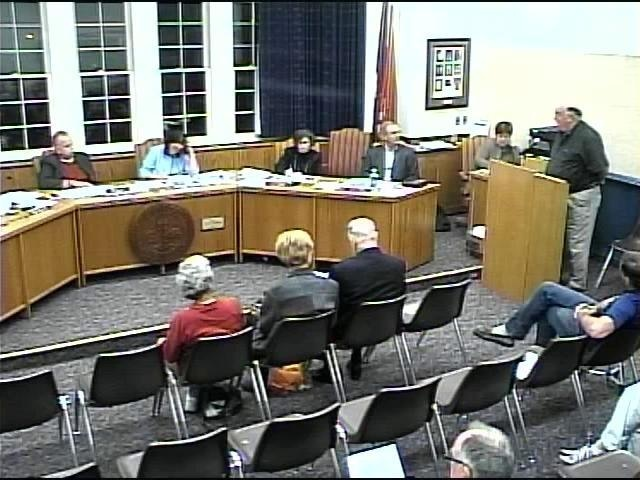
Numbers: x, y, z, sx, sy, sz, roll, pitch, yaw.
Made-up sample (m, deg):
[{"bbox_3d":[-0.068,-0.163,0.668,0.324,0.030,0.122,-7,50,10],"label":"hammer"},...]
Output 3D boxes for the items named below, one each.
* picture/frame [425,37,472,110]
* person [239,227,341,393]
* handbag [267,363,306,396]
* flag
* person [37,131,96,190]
[{"bbox_3d":[1.905,-2.565,7.658,0.937,1.123,0.129,-8,19,-21],"label":"picture/frame"},{"bbox_3d":[-0.155,0.374,3.283,0.591,0.818,0.502,-3,16,-4],"label":"person"},{"bbox_3d":[-0.241,0.958,3.663,0.273,0.119,0.267,-1,2,-29],"label":"handbag"},{"bbox_3d":[0.971,-2.520,7.470,0.286,1.888,0.384,8,19,29],"label":"flag"},{"bbox_3d":[-2.999,-0.914,5.900,0.491,0.647,0.744,18,25,40],"label":"person"}]
